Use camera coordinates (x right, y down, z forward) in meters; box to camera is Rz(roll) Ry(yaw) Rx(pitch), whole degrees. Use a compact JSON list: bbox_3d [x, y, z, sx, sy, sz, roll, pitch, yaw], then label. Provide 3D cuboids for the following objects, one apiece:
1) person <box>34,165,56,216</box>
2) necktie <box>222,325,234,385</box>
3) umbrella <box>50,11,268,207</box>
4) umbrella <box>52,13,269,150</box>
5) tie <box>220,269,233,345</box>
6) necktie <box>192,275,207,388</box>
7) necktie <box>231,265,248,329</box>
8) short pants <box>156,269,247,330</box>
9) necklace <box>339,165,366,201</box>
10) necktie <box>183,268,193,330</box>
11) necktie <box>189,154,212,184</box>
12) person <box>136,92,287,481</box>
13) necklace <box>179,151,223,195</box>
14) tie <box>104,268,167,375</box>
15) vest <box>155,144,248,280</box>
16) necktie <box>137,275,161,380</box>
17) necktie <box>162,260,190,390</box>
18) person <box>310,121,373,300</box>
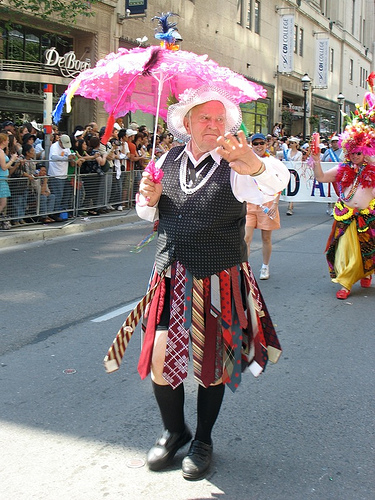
[{"bbox_3d":[-3.538,-1.478,10.659,0.309,1.239,0.912,1,3,-2],"label":"person"},{"bbox_3d":[0.178,0.466,1.925,0.037,0.263,0.083,4,4,41],"label":"necktie"},{"bbox_3d":[-0.096,-0.738,2.169,0.942,0.730,0.941,1,16,29],"label":"umbrella"},{"bbox_3d":[-0.082,-0.825,2.143,1.052,0.630,0.995,-6,17,-17],"label":"umbrella"},{"bbox_3d":[0.180,0.251,1.892,0.033,0.333,0.083,4,4,42],"label":"tie"},{"bbox_3d":[0.050,0.366,1.888,0.058,0.507,0.092,1,3,2],"label":"necktie"},{"bbox_3d":[0.224,0.209,1.924,0.050,0.287,0.014,-14,4,-2],"label":"necktie"},{"bbox_3d":[0.046,0.216,1.865,0.343,0.292,0.018,0,-19,-1],"label":"short pants"},{"bbox_3d":[2.290,-0.926,5.997,0.089,0.435,0.347,16,4,-15],"label":"necklace"},{"bbox_3d":[0.004,0.212,1.837,0.036,0.250,0.037,1,3,2],"label":"necktie"},{"bbox_3d":[0.036,-0.349,1.873,0.119,0.028,0.122,-42,23,-22],"label":"necktie"},{"bbox_3d":[0.074,0.167,1.909,0.647,1.687,0.611,3,4,30],"label":"person"},{"bbox_3d":[0.052,-0.325,1.918,0.150,0.186,0.034,12,-18,31],"label":"necklace"},{"bbox_3d":[-0.242,0.342,1.986,0.169,0.712,0.056,8,41,-24],"label":"tie"},{"bbox_3d":[0.050,-0.181,1.936,0.414,0.611,0.289,1,3,11],"label":"vest"},{"bbox_3d":[-0.173,0.364,1.935,0.109,0.436,0.080,2,3,19],"label":"necktie"},{"bbox_3d":[-0.044,0.331,1.863,0.124,0.570,0.079,0,3,-12],"label":"necktie"},{"bbox_3d":[2.304,-0.594,6.335,0.864,2.446,1.607,2,3,15],"label":"person"}]
